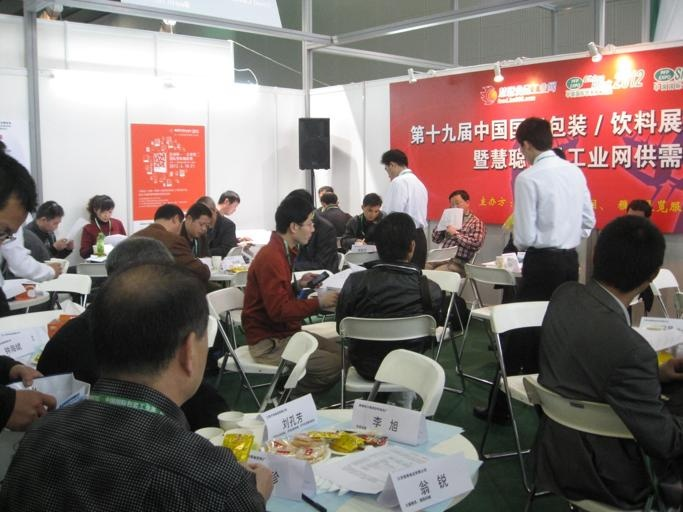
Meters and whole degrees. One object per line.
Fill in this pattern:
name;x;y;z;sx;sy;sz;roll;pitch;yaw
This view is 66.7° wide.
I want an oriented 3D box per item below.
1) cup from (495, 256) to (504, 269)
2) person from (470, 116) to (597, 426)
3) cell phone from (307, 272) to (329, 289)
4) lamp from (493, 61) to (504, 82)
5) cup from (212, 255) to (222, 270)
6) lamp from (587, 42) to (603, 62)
cup;1.502;0.069;4.957;0.089;0.179;0.093;-1;6;0
person;1.591;0.045;4.233;0.761;2.302;0.628;-12;21;-20
cell phone;-0.183;0.192;3.777;0.160;0.089;0.038;-37;-40;18
lamp;1.926;-2.263;6.372;0.121;0.231;0.329;2;10;16
cup;-1.310;0.068;5.434;0.112;0.226;0.117;0;9;0
lamp;2.734;-2.217;5.584;0.131;0.176;0.395;4;11;28
